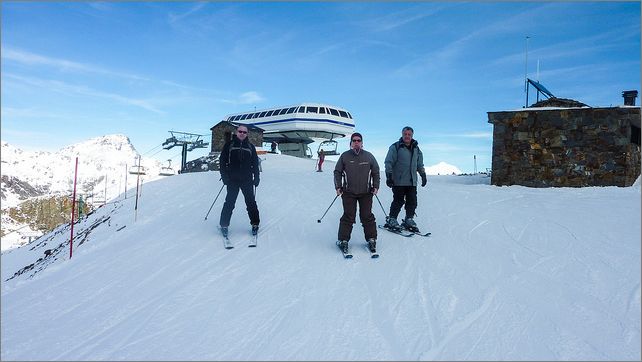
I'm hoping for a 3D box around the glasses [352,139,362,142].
[{"bbox_3d":[0.993,-1.133,11.028,0.212,0.075,0.063,2,7,3],"label":"glasses"}]

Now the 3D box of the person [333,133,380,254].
[{"bbox_3d":[0.970,0.351,11.067,1.241,3.344,0.566,1,7,-2],"label":"person"}]

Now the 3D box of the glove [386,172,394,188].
[{"bbox_3d":[2.012,-0.029,11.660,0.110,0.346,0.263,-13,-8,-13],"label":"glove"}]

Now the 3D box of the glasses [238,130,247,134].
[{"bbox_3d":[-2.350,-1.461,11.765,0.261,0.092,0.223,-1,7,-21],"label":"glasses"}]

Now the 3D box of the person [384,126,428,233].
[{"bbox_3d":[2.556,-0.018,12.128,1.368,3.228,0.773,0,8,-16],"label":"person"}]

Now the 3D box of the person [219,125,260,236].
[{"bbox_3d":[-2.519,0.125,12.042,1.144,3.239,0.435,0,8,-12],"label":"person"}]
